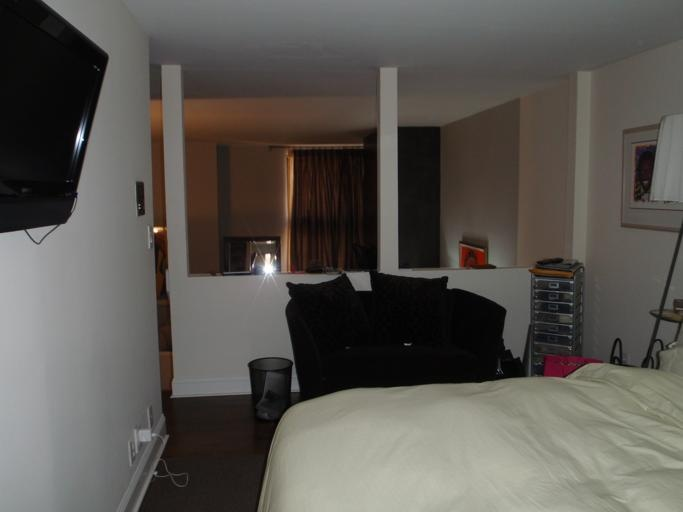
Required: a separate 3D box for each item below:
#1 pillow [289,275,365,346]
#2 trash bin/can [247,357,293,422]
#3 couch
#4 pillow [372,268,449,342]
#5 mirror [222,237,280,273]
[{"bbox_3d":[-0.116,0.418,3.569,0.446,0.459,0.143,-13,-20,-48],"label":"pillow"},{"bbox_3d":[-0.516,0.945,3.753,0.351,0.407,0.364,1,0,-9],"label":"trash bin/can"},{"bbox_3d":[0.401,0.679,3.357,1.161,0.622,0.595,0,-9,-5],"label":"couch"},{"bbox_3d":[0.477,0.358,3.613,0.437,0.455,0.174,0,-19,9],"label":"pillow"},{"bbox_3d":[-0.745,-0.005,4.221,0.321,0.113,0.319,-2,33,-6],"label":"mirror"}]
